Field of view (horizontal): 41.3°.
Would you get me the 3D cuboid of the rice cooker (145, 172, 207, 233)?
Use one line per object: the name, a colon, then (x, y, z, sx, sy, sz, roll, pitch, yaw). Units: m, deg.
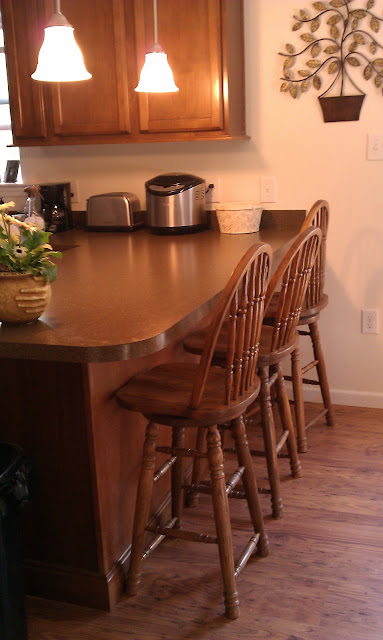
rice cooker: (-0.091, -0.590, 2.521, 0.291, 0.267, 0.293, -10, 25, -21)

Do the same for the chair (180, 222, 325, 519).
chair: (0.167, 0.204, 1.850, 0.500, 1.063, 0.492, 7, 21, 19)

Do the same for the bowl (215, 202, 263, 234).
bowl: (0.215, -0.496, 2.435, 0.195, 0.147, 0.253, -3, 16, -6)

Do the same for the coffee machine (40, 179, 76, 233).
coffee machine: (-0.751, -0.614, 2.772, 0.153, 0.265, 0.208, 7, 18, 20)

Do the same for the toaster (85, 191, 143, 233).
toaster: (-0.405, -0.547, 2.605, 0.230, 0.228, 0.168, 3, 20, 12)
